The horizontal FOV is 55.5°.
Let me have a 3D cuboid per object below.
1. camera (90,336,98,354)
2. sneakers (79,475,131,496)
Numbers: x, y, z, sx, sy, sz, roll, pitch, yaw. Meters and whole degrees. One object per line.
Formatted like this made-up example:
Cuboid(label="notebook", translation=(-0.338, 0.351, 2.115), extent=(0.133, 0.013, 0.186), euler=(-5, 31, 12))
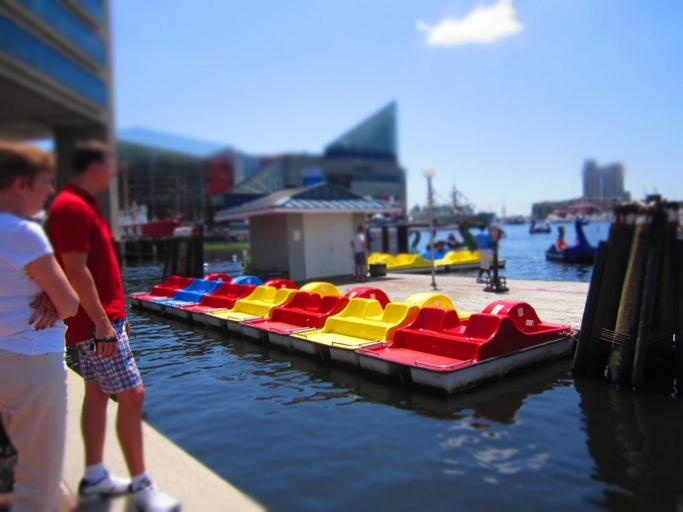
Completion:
Cuboid(label="camera", translation=(-2.058, 0.738, 5.390), extent=(0.085, 0.123, 0.120), euler=(4, 4, -8))
Cuboid(label="sneakers", translation=(-2.063, 2.017, 5.748), extent=(0.472, 0.203, 0.174), euler=(1, 0, -19))
